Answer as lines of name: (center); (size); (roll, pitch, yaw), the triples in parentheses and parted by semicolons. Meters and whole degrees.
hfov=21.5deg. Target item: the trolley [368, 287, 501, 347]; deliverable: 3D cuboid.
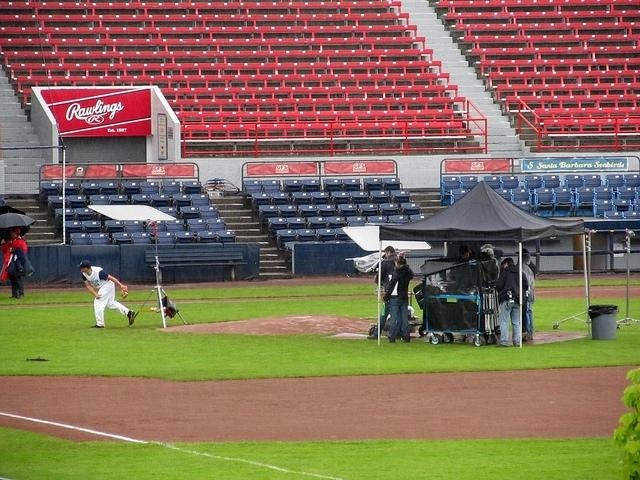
trolley: (3.787, 2.401, 51.794); (3.304, 1.654, 1.962); (-2, 0, 9)
